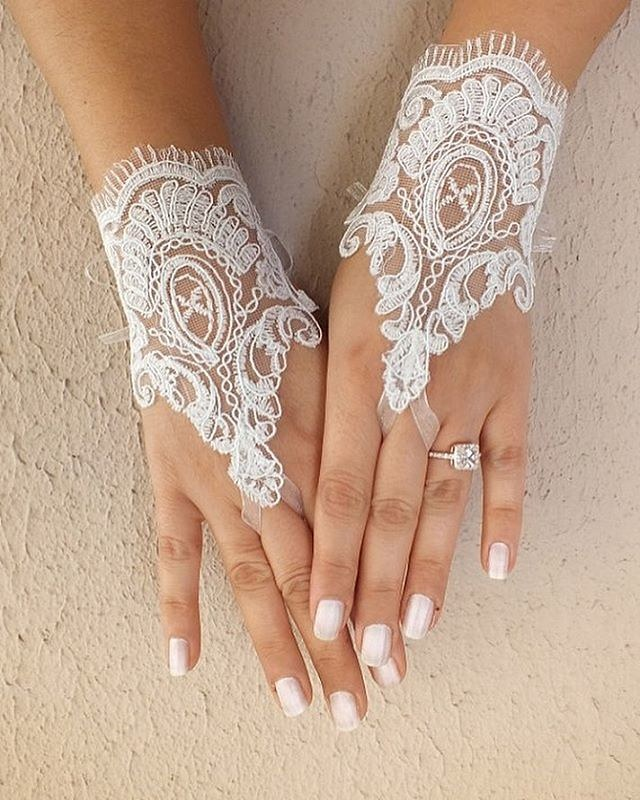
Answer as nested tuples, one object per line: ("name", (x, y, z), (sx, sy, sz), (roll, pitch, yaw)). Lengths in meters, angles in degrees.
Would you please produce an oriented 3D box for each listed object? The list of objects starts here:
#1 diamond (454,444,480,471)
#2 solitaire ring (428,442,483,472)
("diamond", (0.186, 0.071, 1.102), (0.034, 0.008, 0.031), (2, 91, -30))
("solitaire ring", (0.178, 0.072, 1.104), (0.039, 0.046, 0.020), (5, 82, -29))
